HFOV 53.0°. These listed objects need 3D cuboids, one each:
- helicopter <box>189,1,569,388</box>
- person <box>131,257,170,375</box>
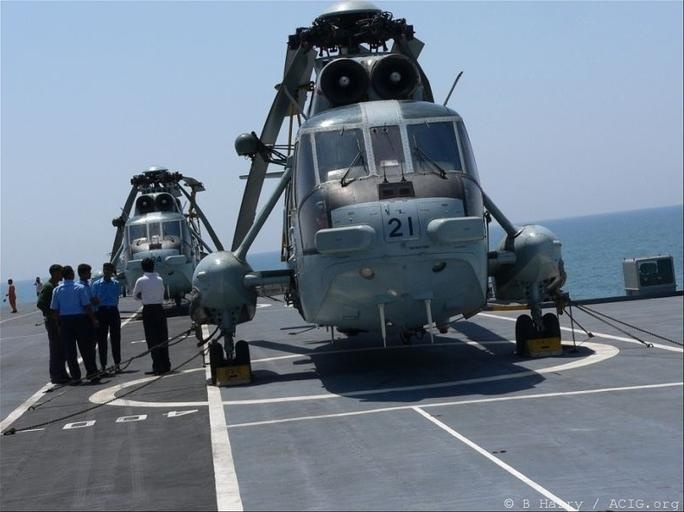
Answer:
[{"bbox_3d":[0.457,-1.601,12.302,5.196,6.205,4.664,-4,1,44],"label":"helicopter"},{"bbox_3d":[-3.666,1.190,13.186,0.547,2.316,0.810,-6,1,-13],"label":"person"}]
